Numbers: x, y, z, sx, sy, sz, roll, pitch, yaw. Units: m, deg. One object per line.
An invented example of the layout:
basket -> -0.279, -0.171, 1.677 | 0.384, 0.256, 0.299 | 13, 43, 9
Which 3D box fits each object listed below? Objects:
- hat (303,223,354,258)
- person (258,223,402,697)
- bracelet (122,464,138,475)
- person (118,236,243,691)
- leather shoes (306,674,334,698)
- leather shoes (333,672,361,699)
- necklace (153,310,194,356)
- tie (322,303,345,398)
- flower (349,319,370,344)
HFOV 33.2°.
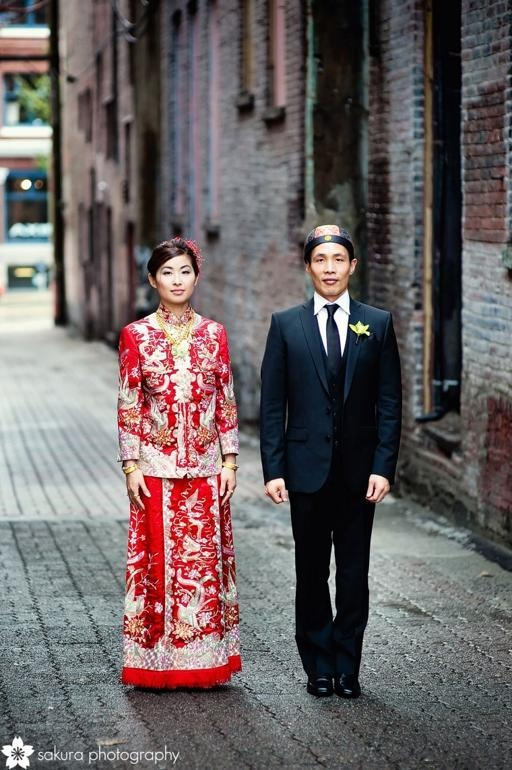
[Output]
hat -> 0.258, -0.521, 3.083 | 0.169, 0.154, 0.235 | 1, -1, 2
person -> 0.261, 0.390, 3.122 | 0.499, 1.530, 0.298 | 1, -1, 0
bracelet -> -0.463, 0.303, 3.092 | 0.039, 0.019, 0.045 | -28, -13, -27
person -> -0.274, 0.292, 3.165 | 0.456, 1.649, 0.244 | 1, -1, -2
leather shoes -> 0.240, 1.120, 3.175 | 0.067, 0.046, 0.126 | 1, 5, 4
leather shoes -> 0.338, 1.117, 3.183 | 0.053, 0.044, 0.112 | 2, 9, -1
necklace -> -0.285, -0.186, 3.126 | 0.121, 0.170, 0.040 | -5, -5, -20
tie -> 0.293, -0.125, 3.070 | 0.047, 0.351, 0.036 | -1, -11, 4
flower -> 0.370, -0.195, 3.020 | 0.066, 0.072, 0.030 | 13, 1, -4
